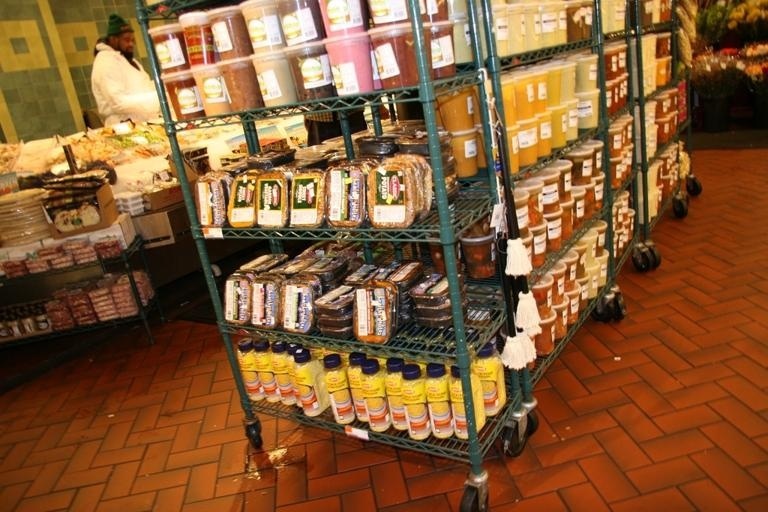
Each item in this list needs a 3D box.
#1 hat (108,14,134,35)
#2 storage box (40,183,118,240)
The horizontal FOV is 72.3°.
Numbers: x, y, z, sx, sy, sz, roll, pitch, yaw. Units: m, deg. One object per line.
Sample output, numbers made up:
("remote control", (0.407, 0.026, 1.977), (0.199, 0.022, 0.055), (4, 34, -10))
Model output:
("hat", (-3.671, -3.173, 7.230), (0.340, 0.282, 0.224), (-14, 21, -12))
("storage box", (-3.062, -0.473, 5.381), (0.550, 0.294, 0.453), (-10, 26, 3))
